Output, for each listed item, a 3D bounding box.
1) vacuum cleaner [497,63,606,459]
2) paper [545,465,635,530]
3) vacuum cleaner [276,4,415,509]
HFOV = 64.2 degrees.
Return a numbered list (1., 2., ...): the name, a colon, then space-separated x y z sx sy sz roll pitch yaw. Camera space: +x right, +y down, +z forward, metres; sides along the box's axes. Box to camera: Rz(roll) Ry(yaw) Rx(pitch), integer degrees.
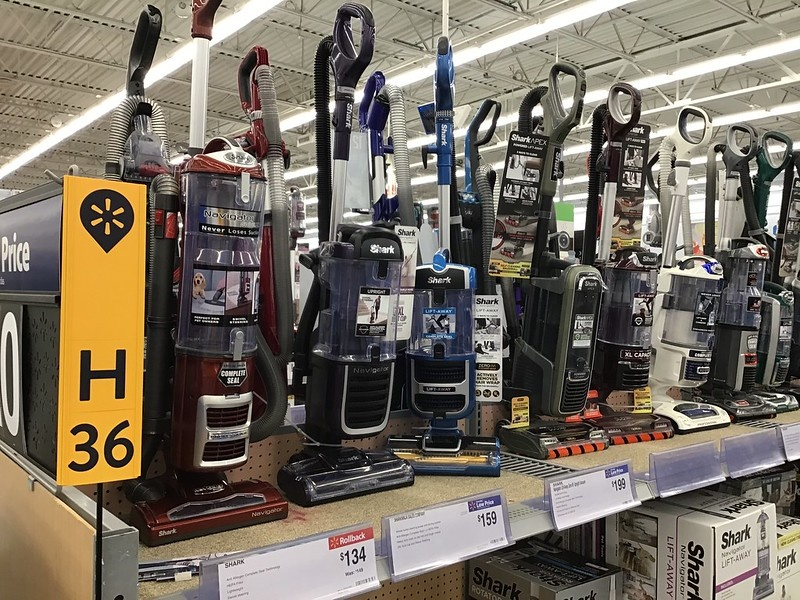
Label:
1. vacuum cleaner: 0.583 -0.197 2.562 0.462 1.539 0.518 -1 2 -17
2. paper: 0.587 0.609 1.977 0.230 0.109 0.239 -11 -3 -19
3. vacuum cleaner: -0.209 -0.178 2.034 0.437 1.534 0.430 -2 2 -44
